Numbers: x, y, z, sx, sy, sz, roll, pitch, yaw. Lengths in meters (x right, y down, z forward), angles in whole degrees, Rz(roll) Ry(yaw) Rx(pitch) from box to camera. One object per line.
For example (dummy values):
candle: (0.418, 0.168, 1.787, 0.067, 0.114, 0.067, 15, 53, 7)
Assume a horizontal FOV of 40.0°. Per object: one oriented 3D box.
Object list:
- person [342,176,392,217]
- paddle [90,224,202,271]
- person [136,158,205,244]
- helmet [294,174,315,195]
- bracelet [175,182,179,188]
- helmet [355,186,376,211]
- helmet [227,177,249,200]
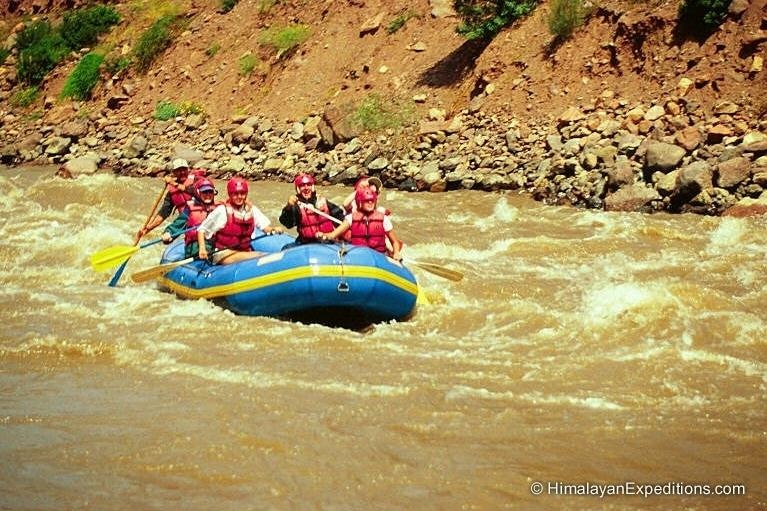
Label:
person: (-0.443, -1.164, 20.124, 0.757, 0.950, 0.284, 5, 59, -25)
paddle: (-4.795, -0.116, 21.288, 2.299, 0.302, 0.184, -21, 8, -1)
person: (-4.215, -0.856, 21.004, 1.199, 0.766, 2.086, 11, 50, 12)
helmet: (-1.465, -1.296, 19.713, 0.372, 0.461, 0.362, 0, 72, -13)
bracelet: (-4.159, -1.379, 21.083, 0.090, 0.023, 0.084, 2, 65, -7)
helmet: (-0.351, -1.016, 19.380, 0.357, 0.438, 0.382, 2, 87, -16)
helmet: (-2.694, -1.233, 19.611, 0.359, 0.458, 0.414, 1, 78, -18)
